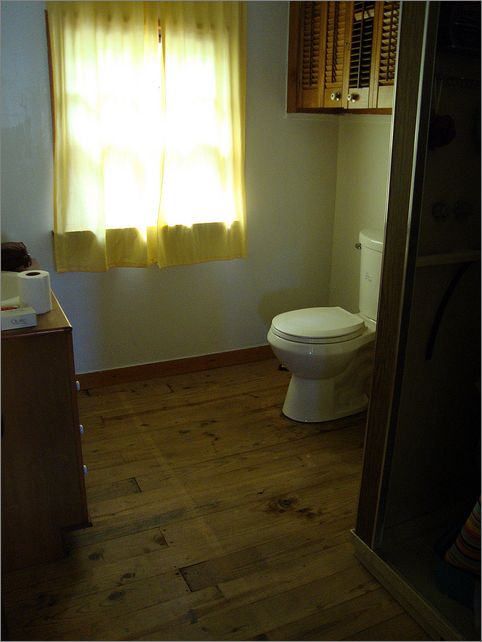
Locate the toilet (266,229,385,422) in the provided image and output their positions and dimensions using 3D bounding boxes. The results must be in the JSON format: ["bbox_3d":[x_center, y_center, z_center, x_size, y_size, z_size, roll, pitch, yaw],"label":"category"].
[{"bbox_3d":[0.446,0.020,2.321,0.577,0.841,0.401,-4,19,-8],"label":"toilet"}]

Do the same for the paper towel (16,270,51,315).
[{"bbox_3d":[-0.592,-0.081,1.396,0.085,0.117,0.103,-6,15,-26],"label":"paper towel"}]
